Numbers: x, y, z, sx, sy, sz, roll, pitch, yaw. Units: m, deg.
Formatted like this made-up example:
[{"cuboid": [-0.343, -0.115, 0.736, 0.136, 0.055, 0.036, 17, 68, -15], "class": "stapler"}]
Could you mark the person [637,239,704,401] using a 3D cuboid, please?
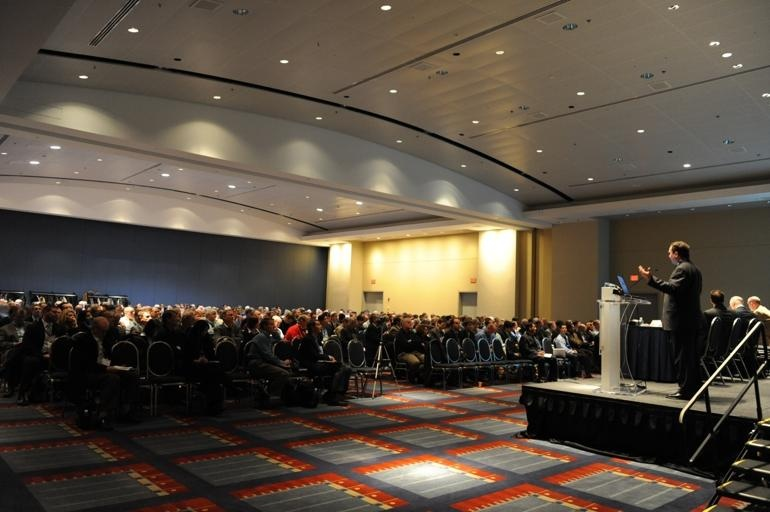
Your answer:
[{"cuboid": [4.187, 0.961, 7.235, 1.066, 2.314, 0.403, 2, 0, -35], "class": "person"}]

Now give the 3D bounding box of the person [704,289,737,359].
[{"cuboid": [5.790, 1.279, 8.709, 0.411, 1.233, 1.481, 2, 0, 35], "class": "person"}]

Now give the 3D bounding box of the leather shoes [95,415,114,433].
[{"cuboid": [-4.562, 2.730, 8.178, 0.258, 0.238, 0.435, 2, 0, -30], "class": "leather shoes"}]

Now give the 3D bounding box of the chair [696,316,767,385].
[{"cuboid": [5.716, 1.575, 8.348, 1.428, 0.991, 0.542, 4, -5, -35], "class": "chair"}]

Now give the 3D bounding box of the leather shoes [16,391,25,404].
[{"cuboid": [-6.891, 2.707, 9.502, 0.137, 0.178, 0.261, 2, 0, -38], "class": "leather shoes"}]
